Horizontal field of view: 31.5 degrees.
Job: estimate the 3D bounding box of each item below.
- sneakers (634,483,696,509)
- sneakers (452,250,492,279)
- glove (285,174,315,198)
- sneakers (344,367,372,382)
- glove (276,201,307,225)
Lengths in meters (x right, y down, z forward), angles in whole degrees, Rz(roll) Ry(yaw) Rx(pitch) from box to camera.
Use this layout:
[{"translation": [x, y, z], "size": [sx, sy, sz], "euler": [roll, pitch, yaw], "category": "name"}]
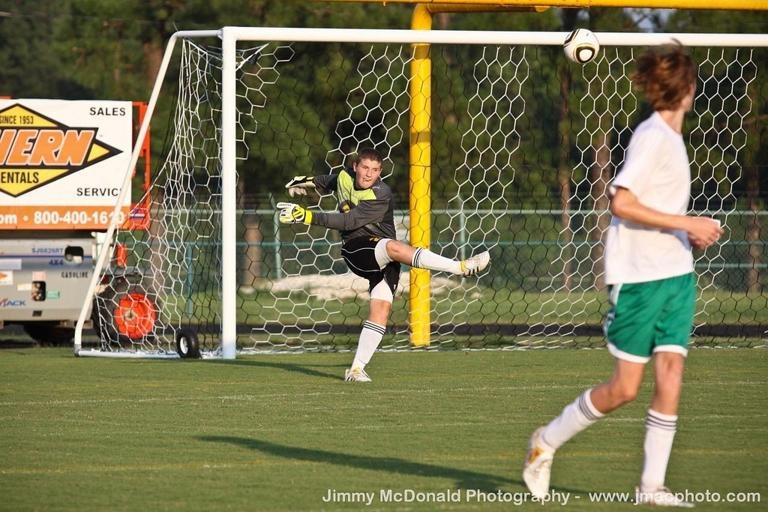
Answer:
[{"translation": [2.856, 2.451, 13.879], "size": [0.638, 0.225, 0.217], "euler": [-1, -1, 3], "category": "sneakers"}, {"translation": [1.167, 0.096, 17.259], "size": [0.552, 0.189, 0.244], "euler": [-24, -22, 18], "category": "sneakers"}, {"translation": [-1.081, -0.921, 18.082], "size": [0.312, 0.183, 0.457], "euler": [7, 4, -3], "category": "glove"}, {"translation": [-0.307, 1.498, 17.022], "size": [0.162, 0.129, 0.313], "euler": [8, -12, -43], "category": "sneakers"}, {"translation": [-1.113, -0.507, 16.939], "size": [0.369, 0.209, 0.163], "euler": [3, -17, -18], "category": "glove"}]
